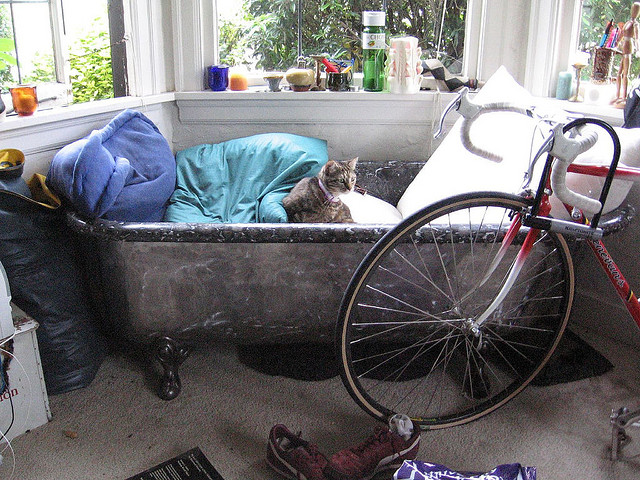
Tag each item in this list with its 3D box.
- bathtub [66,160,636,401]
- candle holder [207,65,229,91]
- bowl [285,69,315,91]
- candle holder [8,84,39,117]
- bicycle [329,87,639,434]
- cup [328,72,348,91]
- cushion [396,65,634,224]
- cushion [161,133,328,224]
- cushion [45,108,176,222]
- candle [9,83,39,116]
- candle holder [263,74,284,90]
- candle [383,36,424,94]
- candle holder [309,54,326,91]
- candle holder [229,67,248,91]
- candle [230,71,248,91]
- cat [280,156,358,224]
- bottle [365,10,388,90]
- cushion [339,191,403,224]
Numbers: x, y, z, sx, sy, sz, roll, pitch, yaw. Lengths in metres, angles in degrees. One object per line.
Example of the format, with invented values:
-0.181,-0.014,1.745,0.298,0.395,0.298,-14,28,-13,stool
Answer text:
-0.018,0.248,2.037,1.905,0.828,0.474,3,24,9,bathtub
-0.547,-0.877,2.734,0.129,0.114,0.114,3,30,2,candle holder
-0.122,-0.867,2.768,0.119,0.086,0.123,0,28,0,bowl
-1.198,-0.570,2.083,0.108,0.128,0.108,-8,14,-41,candle holder
0.615,0.049,1.968,1.146,1.287,0.790,-1,23,0,bicycle
0.095,-0.871,2.775,0.095,0.077,0.098,-1,25,0,cup
0.710,-0.366,2.163,0.255,0.773,0.893,18,4,-13,cushion
-0.379,-0.303,2.463,0.543,0.175,0.544,0,30,8,cushion
-0.777,-0.287,2.063,0.172,0.436,0.524,-9,10,21,cushion
-1.203,-0.565,2.082,0.106,0.123,0.102,8,12,41,candle
-0.262,-0.870,2.824,0.099,0.077,0.102,21,34,37,candle holder
0.502,-0.934,2.816,0.164,0.218,0.163,16,14,-1,candle
-0.013,-0.942,2.833,0.089,0.178,0.221,-1,24,0,candle holder
-0.454,-0.889,2.805,0.099,0.118,0.101,19,42,22,candle holder
-0.425,-0.890,2.828,0.099,0.113,0.112,9,23,18,candle
0.036,-0.263,2.438,0.244,0.384,0.358,-11,30,-31,cat
0.340,-1.060,2.825,0.122,0.408,0.247,11,26,26,bottle
0.248,-0.154,2.510,0.269,0.069,0.201,11,18,-11,cushion
